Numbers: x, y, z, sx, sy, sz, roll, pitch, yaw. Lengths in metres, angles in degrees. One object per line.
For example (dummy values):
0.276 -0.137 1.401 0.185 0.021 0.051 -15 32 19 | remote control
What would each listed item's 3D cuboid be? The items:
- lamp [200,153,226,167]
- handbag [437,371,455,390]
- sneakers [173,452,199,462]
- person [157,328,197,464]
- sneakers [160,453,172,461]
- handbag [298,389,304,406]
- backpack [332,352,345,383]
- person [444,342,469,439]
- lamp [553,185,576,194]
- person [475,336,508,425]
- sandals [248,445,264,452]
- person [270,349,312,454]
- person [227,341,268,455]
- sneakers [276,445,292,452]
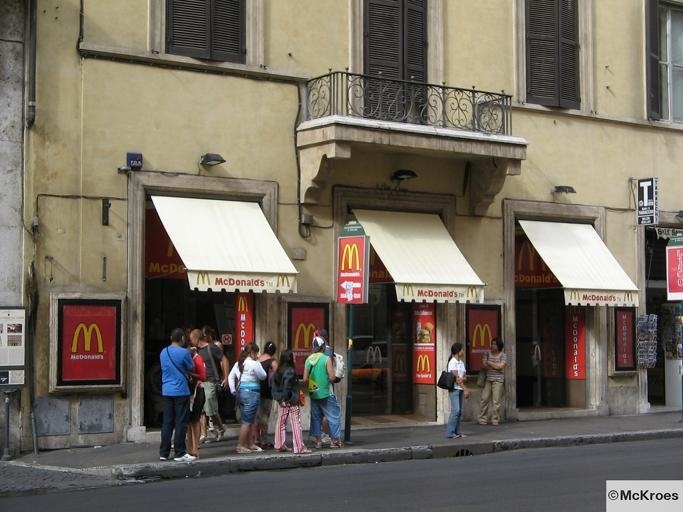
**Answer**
-2.626 -1.948 30.190 0.312 0.155 0.323 -12 -12 31 | lamp
2.095 2.448 30.060 0.248 0.397 0.326 4 -10 -37 | handbag
-2.826 3.604 27.186 0.400 0.187 0.152 -3 2 -12 | sneakers
-3.010 2.511 27.446 0.664 2.419 0.445 -6 -9 27 | person
-3.213 3.625 27.321 0.211 0.107 0.343 -1 -9 -9 | sneakers
-0.778 2.654 28.610 0.196 0.301 0.105 5 -9 -39 | handbag
-0.042 2.162 29.282 0.316 0.470 0.449 2 -11 3 | backpack
2.309 2.660 30.179 0.392 1.922 0.646 -5 -8 19 | person
5.088 -1.538 33.899 0.601 0.172 0.264 2 -10 -28 | lamp
3.240 2.651 32.069 0.538 1.775 0.925 0 -8 -16 | person
-1.617 3.583 28.281 0.266 0.084 0.103 4 -2 12 | sandals
-0.979 2.719 28.336 0.516 1.952 0.738 5 -11 -44 | person
-1.783 2.690 28.574 0.739 2.057 0.918 -2 -8 -5 | person
-1.093 3.609 28.446 0.330 0.152 0.110 -5 6 -37 | sneakers
